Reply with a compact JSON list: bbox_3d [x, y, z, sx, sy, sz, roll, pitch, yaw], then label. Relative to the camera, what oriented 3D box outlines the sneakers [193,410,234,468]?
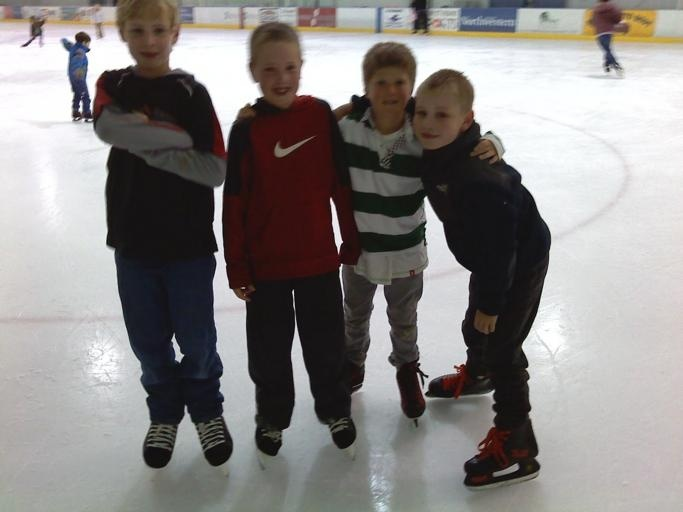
[{"bbox_3d":[-0.493,0.704,2.151,0.084,0.095,0.242,-22,40,-5],"label":"sneakers"}]

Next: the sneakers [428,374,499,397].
[{"bbox_3d":[0.488,0.558,2.387,0.317,0.128,0.104,0,34,6],"label":"sneakers"}]

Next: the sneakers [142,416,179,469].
[{"bbox_3d":[-0.696,0.716,2.137,0.074,0.087,0.215,20,33,-30],"label":"sneakers"}]

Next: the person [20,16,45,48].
[{"bbox_3d":[-7.380,-5.334,13.408,0.504,0.701,2.623,-12,24,-25],"label":"person"}]

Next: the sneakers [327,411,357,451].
[{"bbox_3d":[-0.004,0.678,2.179,0.113,0.082,0.143,-12,36,-17],"label":"sneakers"}]

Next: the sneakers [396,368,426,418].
[{"bbox_3d":[0.274,0.550,2.358,0.082,0.103,0.244,-9,38,2],"label":"sneakers"}]
